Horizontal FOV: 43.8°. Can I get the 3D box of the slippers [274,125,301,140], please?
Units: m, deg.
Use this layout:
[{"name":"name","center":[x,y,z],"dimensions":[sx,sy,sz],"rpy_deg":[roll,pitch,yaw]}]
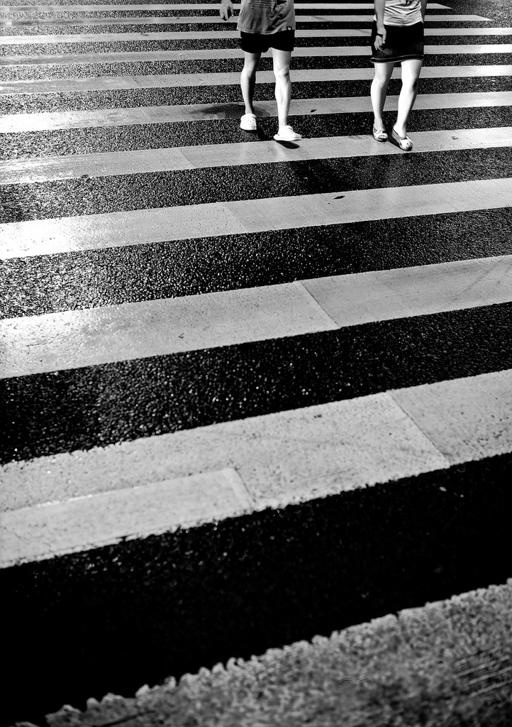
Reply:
[{"name":"slippers","center":[0.286,-2.128,5.888],"dimensions":[0.263,0.149,0.118],"rpy_deg":[23,34,33]}]
